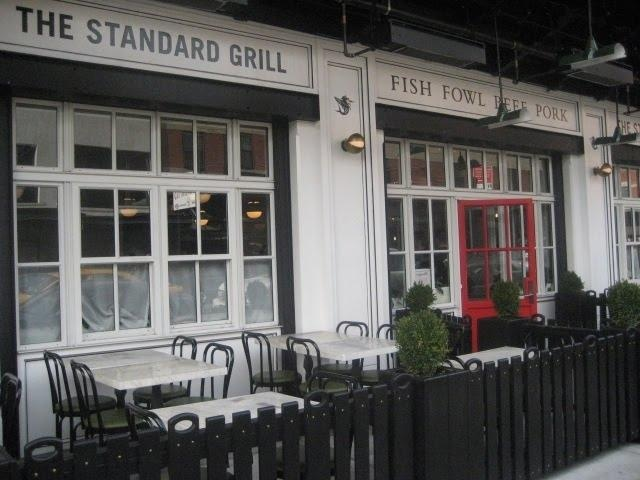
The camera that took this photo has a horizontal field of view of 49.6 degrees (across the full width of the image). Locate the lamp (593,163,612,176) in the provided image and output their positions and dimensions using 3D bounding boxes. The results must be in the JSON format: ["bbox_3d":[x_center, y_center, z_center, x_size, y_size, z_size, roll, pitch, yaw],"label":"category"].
[{"bbox_3d":[4.382,-1.085,10.648,0.330,0.207,0.217,0,-6,-37],"label":"lamp"}]

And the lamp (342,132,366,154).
[{"bbox_3d":[0.402,-1.097,7.845,0.310,0.227,0.214,-2,-6,-21],"label":"lamp"}]
